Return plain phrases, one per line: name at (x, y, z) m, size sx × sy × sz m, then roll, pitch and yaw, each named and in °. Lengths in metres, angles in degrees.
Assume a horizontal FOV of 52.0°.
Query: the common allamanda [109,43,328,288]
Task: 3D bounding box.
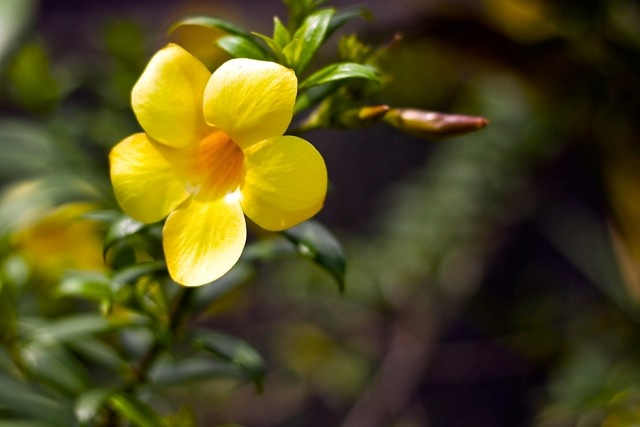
common allamanda at (-0.231, -0.103, 1.490) m, size 0.459 × 0.461 × 0.317 m, roll 25°, pitch 36°, yaw 33°
